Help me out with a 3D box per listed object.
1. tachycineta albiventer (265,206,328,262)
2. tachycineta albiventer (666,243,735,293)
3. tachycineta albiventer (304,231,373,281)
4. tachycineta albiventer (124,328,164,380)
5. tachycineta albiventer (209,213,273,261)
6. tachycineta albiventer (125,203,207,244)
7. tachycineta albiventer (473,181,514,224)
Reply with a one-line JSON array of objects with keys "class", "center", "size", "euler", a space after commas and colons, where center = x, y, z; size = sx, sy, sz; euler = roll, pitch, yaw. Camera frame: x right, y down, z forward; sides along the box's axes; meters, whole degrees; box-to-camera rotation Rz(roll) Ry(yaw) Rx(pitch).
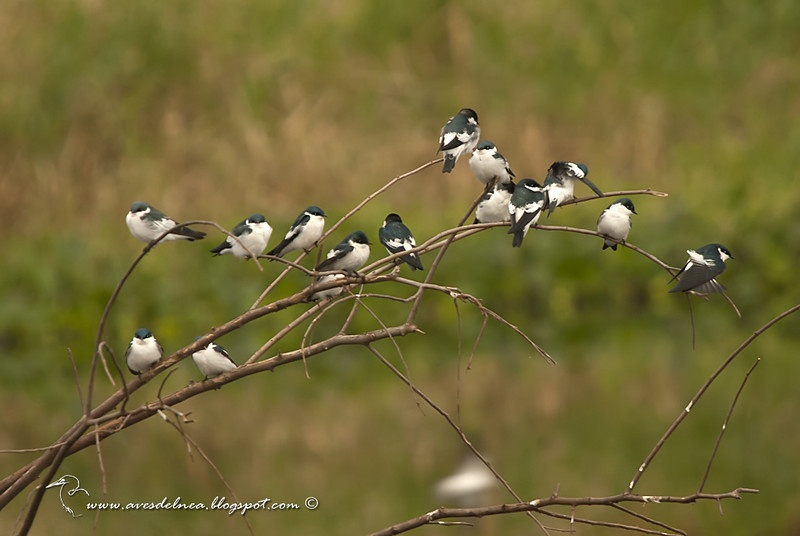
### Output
[{"class": "tachycineta albiventer", "center": [-1.052, -0.377, 11.454], "size": [0.838, 0.417, 0.493], "euler": [-9, -96, 20]}, {"class": "tachycineta albiventer", "center": [3.055, 0.053, 11.044], "size": [0.840, 0.377, 0.388], "euler": [-23, -69, -36]}, {"class": "tachycineta albiventer", "center": [-0.612, -0.129, 11.159], "size": [0.628, 0.385, 0.469], "euler": [-1, -95, 24]}, {"class": "tachycineta albiventer", "center": [-2.706, 0.840, 11.448], "size": [0.399, 0.637, 0.559], "euler": [-4, -76, -11]}, {"class": "tachycineta albiventer", "center": [-1.698, -0.328, 11.521], "size": [0.663, 0.408, 0.499], "euler": [0, -83, 32]}, {"class": "tachycineta albiventer", "center": [-2.394, -0.435, 11.095], "size": [0.740, 0.420, 0.428], "euler": [2, -98, 12]}, {"class": "tachycineta albiventer", "center": [0.993, -0.683, 11.486], "size": [0.217, 0.682, 0.298], "euler": [1, -64, -19]}]
